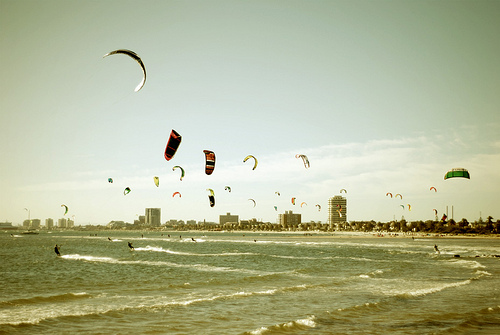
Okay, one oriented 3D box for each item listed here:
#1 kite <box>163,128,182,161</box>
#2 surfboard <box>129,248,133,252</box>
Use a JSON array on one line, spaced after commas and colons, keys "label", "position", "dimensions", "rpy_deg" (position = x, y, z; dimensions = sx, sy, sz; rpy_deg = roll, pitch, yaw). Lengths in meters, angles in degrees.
[{"label": "kite", "position": [-4.200, -1.175, 27.572], "dimensions": [0.423, 1.714, 0.989], "rpy_deg": [30, 7, -34]}, {"label": "surfboard", "position": [-13.701, 9.522, 59.001], "dimensions": [0.388, 0.291, 2.613], "rpy_deg": [-1, -9, -13]}]
